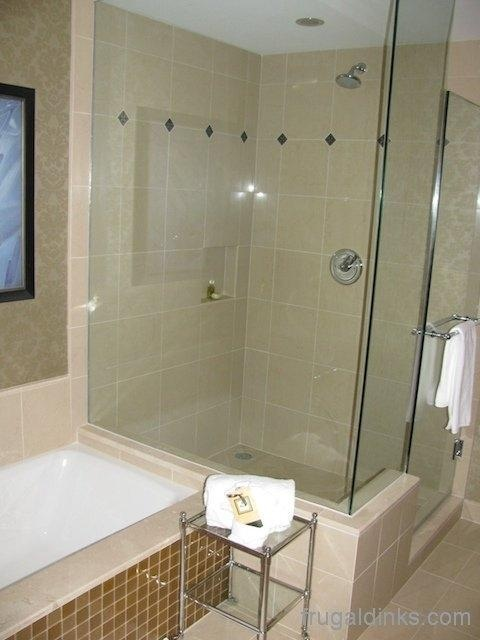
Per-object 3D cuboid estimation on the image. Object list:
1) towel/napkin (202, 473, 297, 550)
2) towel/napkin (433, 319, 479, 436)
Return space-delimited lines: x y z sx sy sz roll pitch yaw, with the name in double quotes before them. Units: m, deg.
"towel/napkin" 0.039 0.587 1.675 0.273 0.172 0.254 -5 7 -34
"towel/napkin" 0.997 0.254 2.403 0.299 0.490 0.135 -4 6 -23
